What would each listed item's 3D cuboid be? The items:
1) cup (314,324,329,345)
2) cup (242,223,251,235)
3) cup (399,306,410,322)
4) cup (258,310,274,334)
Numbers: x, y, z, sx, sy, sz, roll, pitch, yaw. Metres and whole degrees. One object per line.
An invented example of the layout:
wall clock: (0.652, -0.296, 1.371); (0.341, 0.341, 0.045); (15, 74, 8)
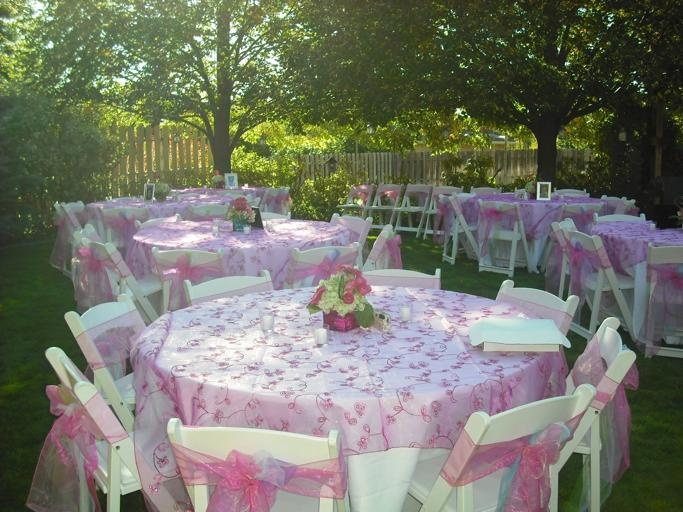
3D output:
cup: (-0.118, 0.465, 3.606); (0.074, 0.105, 0.081); (-3, 14, -11)
cup: (-1.065, -0.306, 6.798); (0.085, 0.117, 0.093); (0, 0, 0)
cup: (0.401, 0.373, 3.929); (0.067, 0.093, 0.076); (0, 5, 5)
cup: (-0.469, 0.419, 3.824); (0.091, 0.131, 0.107); (0, 4, -6)
